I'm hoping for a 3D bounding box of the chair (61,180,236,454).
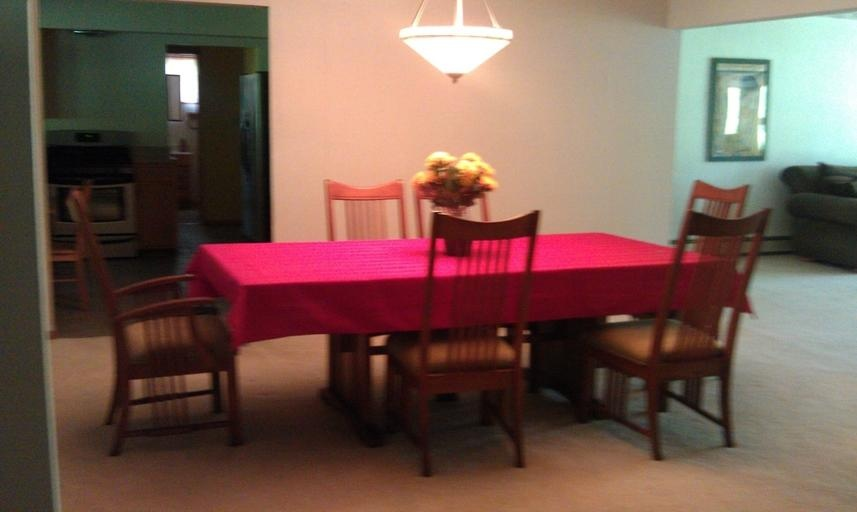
[{"bbox_3d":[-1.476,0.402,3.668,0.912,1.166,0.958,9,12,36],"label":"chair"}]

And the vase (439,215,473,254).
[{"bbox_3d":[0.138,-0.101,3.533,0.202,0.160,0.205,1,2,-2],"label":"vase"}]

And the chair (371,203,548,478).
[{"bbox_3d":[0.185,0.406,3.474,0.846,1.362,0.585,-1,14,-5],"label":"chair"}]

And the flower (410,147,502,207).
[{"bbox_3d":[0.162,-0.450,3.809,0.396,0.276,0.373,0,-8,-10],"label":"flower"}]
